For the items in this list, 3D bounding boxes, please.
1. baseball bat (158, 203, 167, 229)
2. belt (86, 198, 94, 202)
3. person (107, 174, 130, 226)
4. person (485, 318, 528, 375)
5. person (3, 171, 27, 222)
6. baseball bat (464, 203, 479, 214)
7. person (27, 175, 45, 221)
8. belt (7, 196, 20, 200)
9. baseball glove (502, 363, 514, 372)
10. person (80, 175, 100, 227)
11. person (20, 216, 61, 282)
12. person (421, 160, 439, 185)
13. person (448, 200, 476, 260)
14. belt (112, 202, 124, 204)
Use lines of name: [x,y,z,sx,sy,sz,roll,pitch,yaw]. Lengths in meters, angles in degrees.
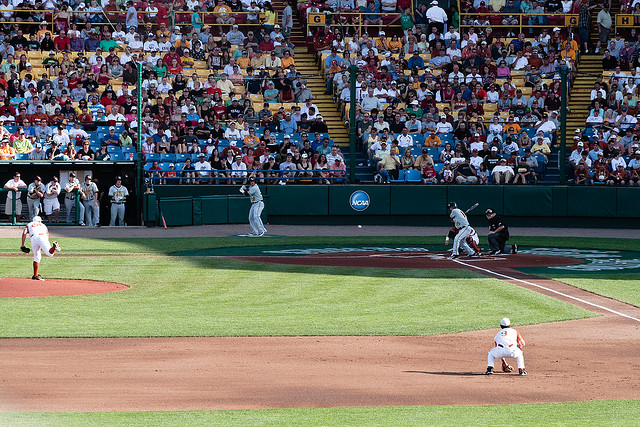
baseball bat: [-6.097,0.127,51.059,0.189,1.046,0.169,-13,6,22]
belt: [-8.898,-0.534,50.787,0.243,0.096,0.036,-3,16,-16]
person: [-7.942,-0.460,51.527,0.768,2.033,1.169,-1,16,-9]
person: [4.854,3.332,33.349,1.076,1.452,0.542,3,16,7]
person: [-11.879,-0.644,50.995,0.855,1.869,1.093,-2,16,-13]
baseball bat: [5.996,-0.212,51.256,0.742,0.135,0.084,-33,-5,-5]
person: [-10.956,-0.509,50.476,0.666,1.774,1.569,-2,15,-12]
belt: [-11.858,-0.593,50.575,0.448,0.119,0.127,-2,15,-12]
baseball glove: [4.907,3.860,33.589,0.279,0.253,0.441,5,14,16]
person: [-8.963,-0.464,50.913,0.708,1.993,1.042,-2,16,-10]
person: [-8.474,0.908,40.067,1.228,2.240,0.945,-28,-27,36]
person: [4.498,-1.659,52.780,0.685,0.894,0.418,2,16,3]
person: [4.909,0.576,44.686,0.897,2.024,1.042,3,16,6]
belt: [-7.856,-0.393,51.081,0.413,0.066,0.074,-1,15,-9]
